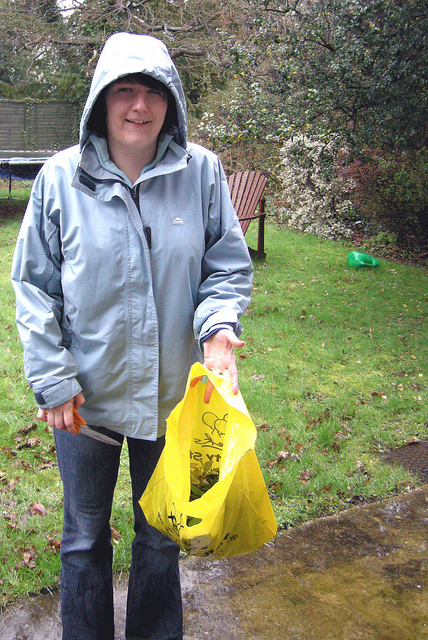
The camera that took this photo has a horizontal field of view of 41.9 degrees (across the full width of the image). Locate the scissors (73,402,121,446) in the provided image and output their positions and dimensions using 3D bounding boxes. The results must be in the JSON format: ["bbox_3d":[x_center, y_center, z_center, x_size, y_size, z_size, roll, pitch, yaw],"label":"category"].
[{"bbox_3d":[-0.364,0.288,1.569,0.159,0.051,0.015,25,26,10],"label":"scissors"}]

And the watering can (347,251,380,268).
[{"bbox_3d":[2.617,-1.074,9.861,0.422,0.166,0.307,14,4,27],"label":"watering can"}]

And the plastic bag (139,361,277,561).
[{"bbox_3d":[-0.015,0.394,1.525,0.286,0.523,0.363,-7,15,-30],"label":"plastic bag"}]

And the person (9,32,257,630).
[{"bbox_3d":[-0.225,0.188,1.781,0.634,2.069,0.657,5,13,17],"label":"person"}]
